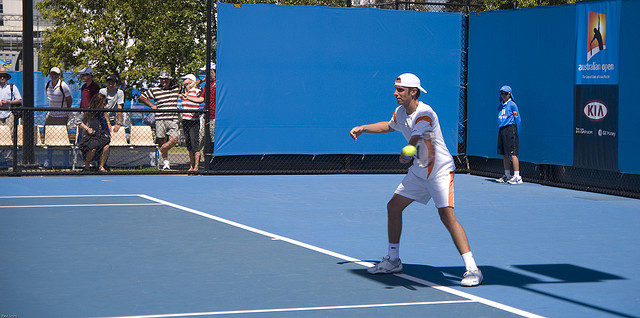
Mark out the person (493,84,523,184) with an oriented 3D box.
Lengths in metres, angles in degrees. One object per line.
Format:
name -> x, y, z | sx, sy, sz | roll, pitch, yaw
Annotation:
person -> 5.989, -0.733, 21.595 | 0.736, 3.055, 0.997 | 0, 4, 16

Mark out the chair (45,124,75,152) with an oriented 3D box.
chair -> -8.808, -0.601, 23.209 | 1.143, 1.030, 0.913 | -1, 1, -21

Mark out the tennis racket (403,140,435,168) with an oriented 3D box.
tennis racket -> 2.102, -0.097, 14.382 | 0.628, 0.588, 0.323 | 0, 10, 3

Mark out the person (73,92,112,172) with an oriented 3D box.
person -> -7.267, -0.855, 22.122 | 1.038, 2.556, 1.131 | -2, 4, -19

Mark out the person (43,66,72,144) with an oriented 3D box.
person -> -8.683, -1.755, 22.744 | 0.808, 2.519, 1.085 | -4, 4, -34

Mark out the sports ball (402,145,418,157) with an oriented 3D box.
sports ball -> 1.837, -0.198, 14.179 | 0.217, 0.198, 0.267 | 6, 28, -26
